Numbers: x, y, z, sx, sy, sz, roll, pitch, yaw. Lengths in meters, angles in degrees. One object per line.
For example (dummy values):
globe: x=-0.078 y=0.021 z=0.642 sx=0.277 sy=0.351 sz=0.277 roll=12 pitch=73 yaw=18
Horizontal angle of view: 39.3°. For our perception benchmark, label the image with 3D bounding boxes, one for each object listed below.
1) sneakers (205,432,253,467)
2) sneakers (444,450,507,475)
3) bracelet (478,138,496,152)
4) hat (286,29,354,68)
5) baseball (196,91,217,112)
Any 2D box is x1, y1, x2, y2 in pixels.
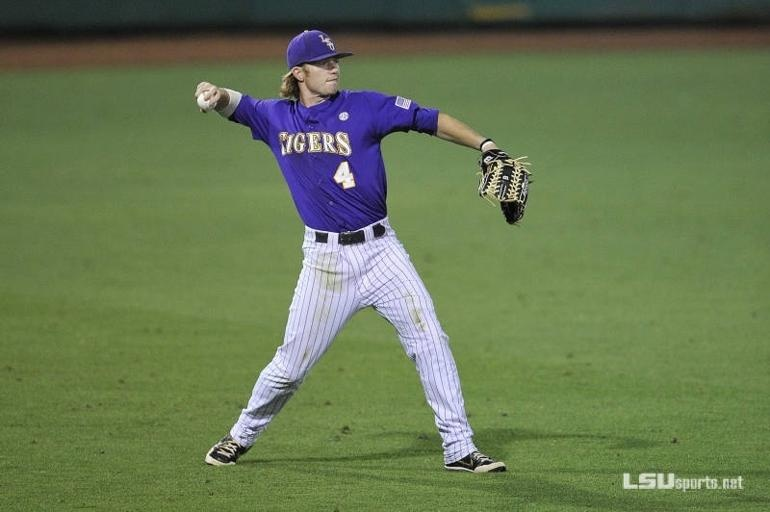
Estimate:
sneakers: x=-1.271 y=1.601 z=8.815 sx=0.173 sy=0.160 sz=0.431 roll=-28 pitch=-2 yaw=20
sneakers: x=0.721 y=1.671 z=8.651 sx=0.500 sy=0.172 sz=0.180 roll=0 pitch=0 yaw=6
bracelet: x=0.805 y=-0.887 z=8.659 sx=0.108 sy=0.089 sz=0.112 roll=-39 pitch=-7 yaw=-14
hat: x=-0.568 y=-1.662 z=8.746 sx=0.466 sy=0.240 sz=0.293 roll=-7 pitch=9 yaw=20
baseball: x=-1.444 y=-1.241 z=8.692 sx=0.132 sy=0.111 sz=0.146 roll=10 pitch=21 yaw=36
